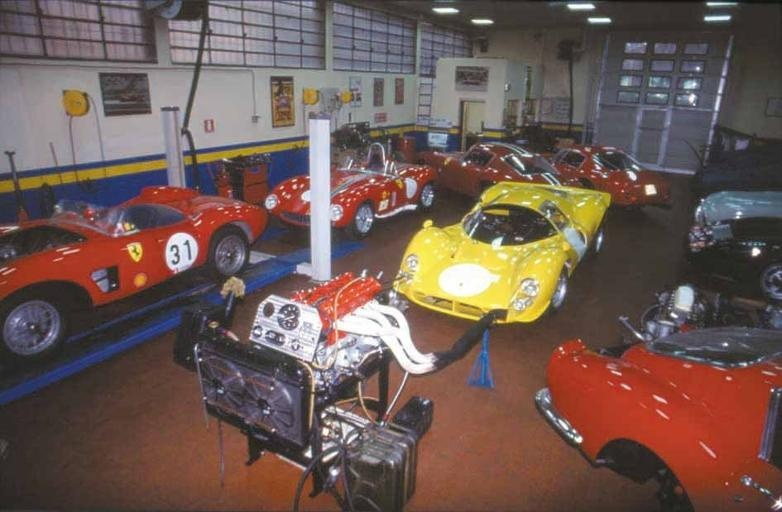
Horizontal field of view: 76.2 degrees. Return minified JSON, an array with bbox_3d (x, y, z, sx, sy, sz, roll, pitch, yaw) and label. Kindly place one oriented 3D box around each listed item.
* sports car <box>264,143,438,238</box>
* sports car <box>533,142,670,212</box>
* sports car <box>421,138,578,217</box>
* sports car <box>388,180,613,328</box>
[{"bbox_3d":[-0.669,-1.188,10.403,1.841,1.319,3.394,15,24,32],"label":"sports car"},{"bbox_3d":[4.839,-1.796,11.876,1.410,0.897,2.768,-15,35,-29],"label":"sports car"},{"bbox_3d":[2.249,-2.102,11.973,1.495,0.986,3.079,-18,31,-39],"label":"sports car"},{"bbox_3d":[1.868,-0.267,7.602,1.826,0.867,3.315,13,34,32],"label":"sports car"}]
